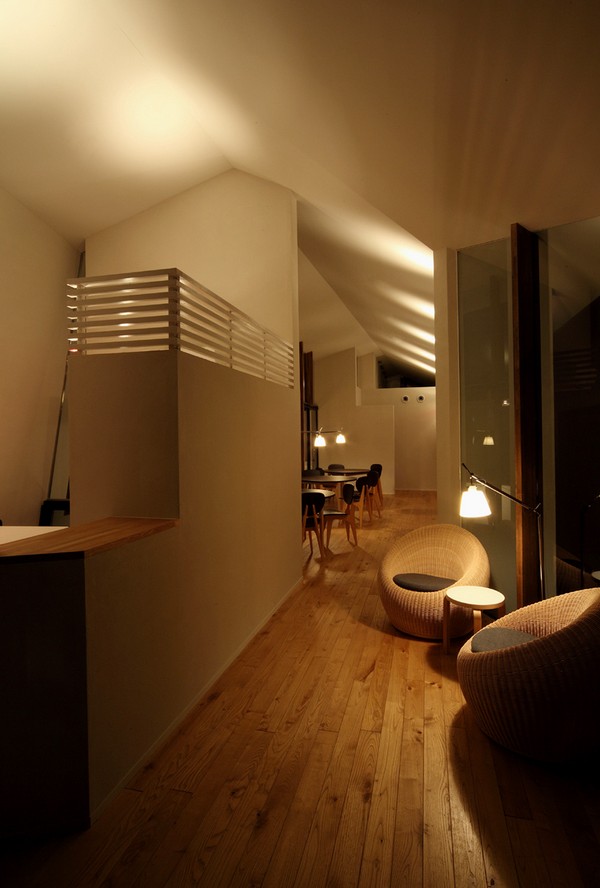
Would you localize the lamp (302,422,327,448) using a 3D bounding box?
[{"bbox_3d":[0.344,-0.122,11.369,0.504,0.620,0.262,-1,6,11],"label":"lamp"}]

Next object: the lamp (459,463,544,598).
[{"bbox_3d":[1.311,0.618,3.819,0.544,0.885,1.549,0,0,24],"label":"lamp"}]

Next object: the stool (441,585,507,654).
[{"bbox_3d":[1.003,0.913,3.396,0.278,0.488,0.333,1,4,27],"label":"stool"}]
